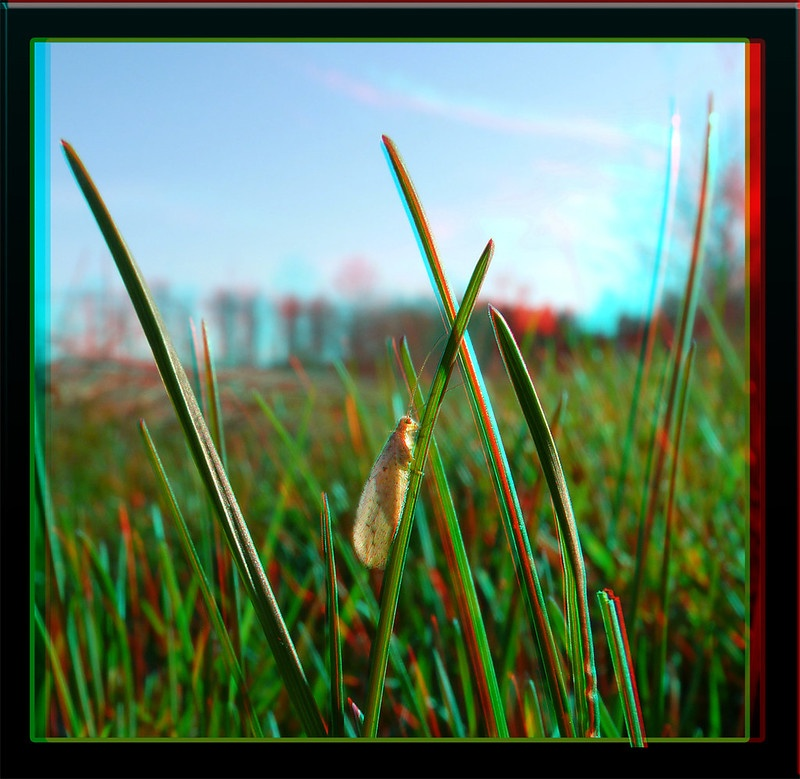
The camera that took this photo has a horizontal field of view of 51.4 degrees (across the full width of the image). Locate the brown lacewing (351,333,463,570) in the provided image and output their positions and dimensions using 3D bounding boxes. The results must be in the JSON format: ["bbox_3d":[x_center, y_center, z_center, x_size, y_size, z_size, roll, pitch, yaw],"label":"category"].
[{"bbox_3d":[0.009,0.065,0.688,0.030,0.238,0.055,14,-4,-37],"label":"brown lacewing"}]
